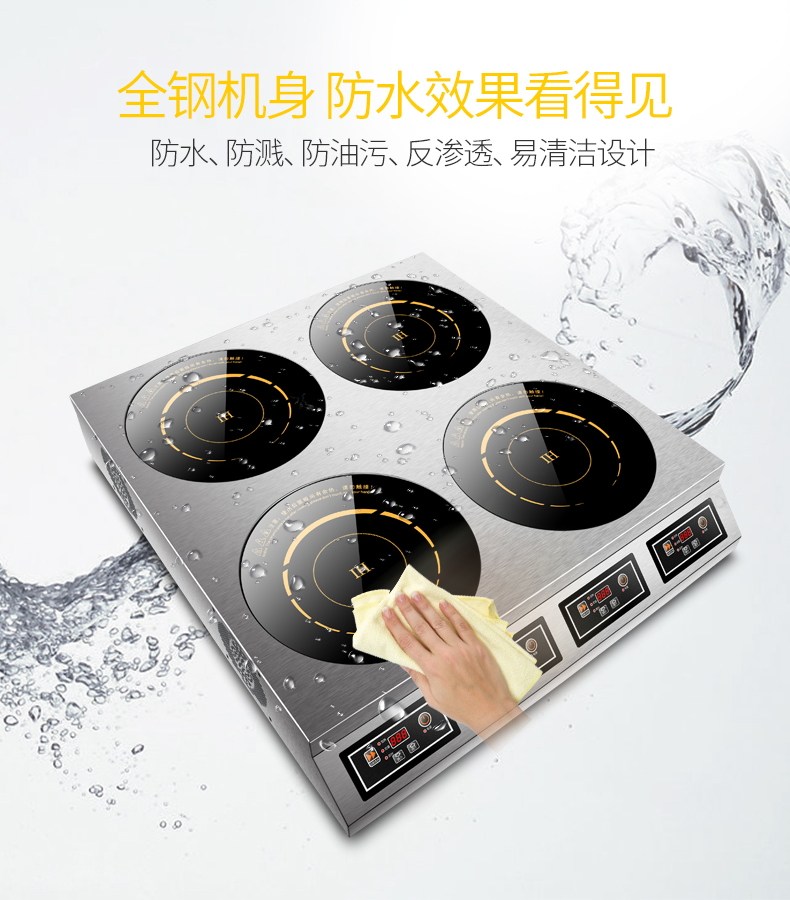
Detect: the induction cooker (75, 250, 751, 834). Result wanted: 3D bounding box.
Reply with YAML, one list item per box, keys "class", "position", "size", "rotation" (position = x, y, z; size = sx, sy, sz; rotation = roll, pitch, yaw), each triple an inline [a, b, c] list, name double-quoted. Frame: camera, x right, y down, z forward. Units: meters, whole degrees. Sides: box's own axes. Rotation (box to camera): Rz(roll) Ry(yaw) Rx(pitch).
- class: "induction cooker"
  position: [0.008, 0.032, 1.357]
  size: [0.845, 0.334, 0.971]
  rotation: [-21, 37, -27]
